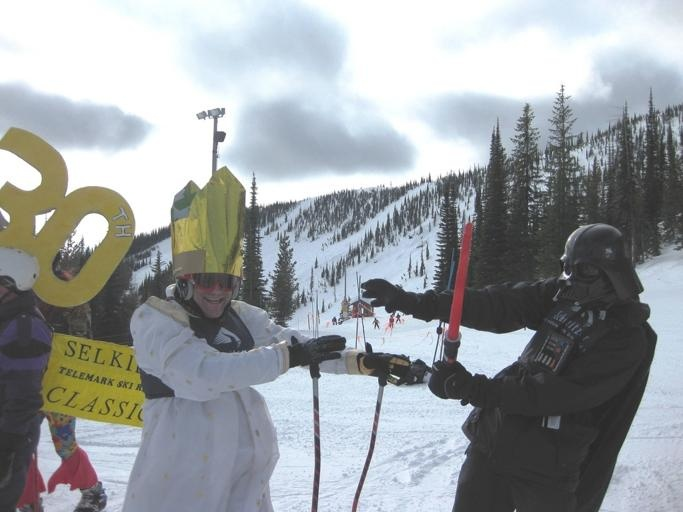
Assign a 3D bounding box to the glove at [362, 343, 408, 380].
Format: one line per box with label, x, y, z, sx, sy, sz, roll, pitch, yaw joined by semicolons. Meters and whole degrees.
glove;0.549;1.352;9.876;0.463;0.449;0.239;1;31;30
